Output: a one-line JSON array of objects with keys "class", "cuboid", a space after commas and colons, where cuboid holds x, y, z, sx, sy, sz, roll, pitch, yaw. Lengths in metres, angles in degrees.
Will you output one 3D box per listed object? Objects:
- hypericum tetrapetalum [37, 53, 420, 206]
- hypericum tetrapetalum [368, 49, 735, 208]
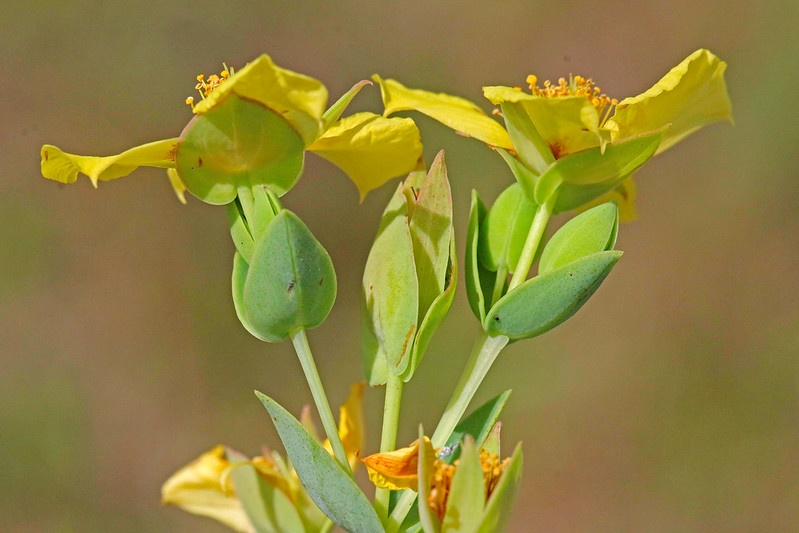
[{"class": "hypericum tetrapetalum", "cuboid": [-0.154, -0.108, 0.929, 0.325, 0.111, 0.202, 0, -7, 21]}, {"class": "hypericum tetrapetalum", "cuboid": [0.148, -0.131, 0.904, 0.350, 0.154, 0.121, 5, -7, -23]}]
